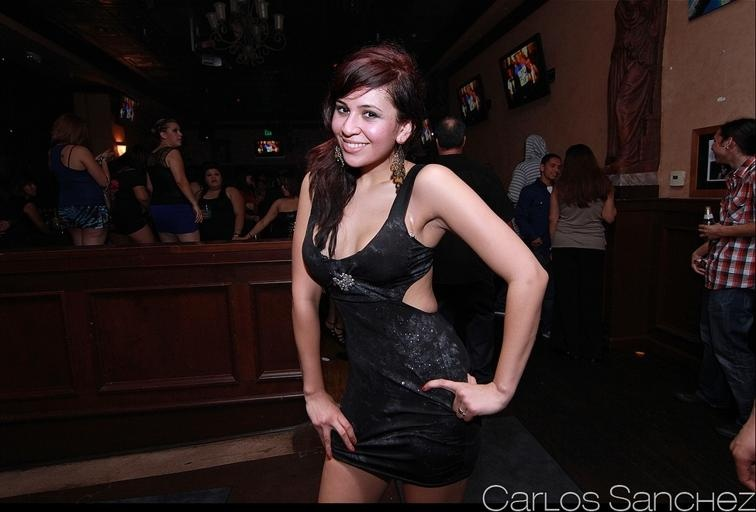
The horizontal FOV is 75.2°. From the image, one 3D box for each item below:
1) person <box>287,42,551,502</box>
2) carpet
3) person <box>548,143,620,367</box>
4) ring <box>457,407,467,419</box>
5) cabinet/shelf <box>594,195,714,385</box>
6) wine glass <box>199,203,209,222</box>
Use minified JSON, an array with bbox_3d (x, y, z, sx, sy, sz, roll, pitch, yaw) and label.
[{"bbox_3d":[0.135,0.324,2.357,1.188,1.780,0.419,1,9,18],"label":"person"},{"bbox_3d":[0.957,1.451,3.435,0.774,0.197,0.864,1,26,10],"label":"carpet"},{"bbox_3d":[1.957,-0.034,4.770,0.571,2.040,0.355,2,9,24],"label":"person"},{"bbox_3d":[0.397,0.748,2.337,0.047,0.026,0.042,41,7,22],"label":"ring"},{"bbox_3d":[3.026,0.129,5.339,1.027,1.839,1.118,-2,25,17],"label":"cabinet/shelf"},{"bbox_3d":[-1.868,-0.459,5.338,0.086,0.194,0.146,-4,9,-19],"label":"wine glass"}]
